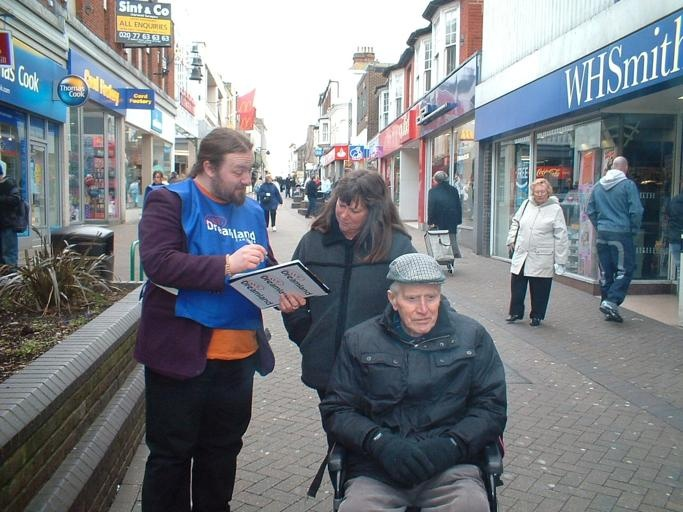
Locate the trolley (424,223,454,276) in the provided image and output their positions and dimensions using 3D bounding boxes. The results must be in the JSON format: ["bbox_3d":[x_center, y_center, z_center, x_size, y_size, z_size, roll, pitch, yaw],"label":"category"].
[{"bbox_3d":[2.262,-0.166,12.598,0.583,0.967,0.758,-8,3,2],"label":"trolley"}]

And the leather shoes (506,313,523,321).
[{"bbox_3d":[2.614,0.911,8.304,0.280,0.132,0.100,2,3,-9],"label":"leather shoes"}]

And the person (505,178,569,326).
[{"bbox_3d":[2.868,-0.061,8.155,0.834,2.124,0.571,2,8,20],"label":"person"}]

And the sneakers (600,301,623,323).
[{"bbox_3d":[3.956,0.801,8.123,0.289,0.312,0.275,6,9,37],"label":"sneakers"}]

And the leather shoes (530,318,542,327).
[{"bbox_3d":[2.841,0.948,8.111,0.152,0.109,0.236,3,8,24],"label":"leather shoes"}]

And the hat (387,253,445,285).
[{"bbox_3d":[0.411,0.078,3.200,0.324,0.169,0.443,2,6,3],"label":"hat"}]

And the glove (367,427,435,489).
[{"bbox_3d":[0.291,1.005,2.783,0.330,0.221,0.155,0,7,3],"label":"glove"}]
